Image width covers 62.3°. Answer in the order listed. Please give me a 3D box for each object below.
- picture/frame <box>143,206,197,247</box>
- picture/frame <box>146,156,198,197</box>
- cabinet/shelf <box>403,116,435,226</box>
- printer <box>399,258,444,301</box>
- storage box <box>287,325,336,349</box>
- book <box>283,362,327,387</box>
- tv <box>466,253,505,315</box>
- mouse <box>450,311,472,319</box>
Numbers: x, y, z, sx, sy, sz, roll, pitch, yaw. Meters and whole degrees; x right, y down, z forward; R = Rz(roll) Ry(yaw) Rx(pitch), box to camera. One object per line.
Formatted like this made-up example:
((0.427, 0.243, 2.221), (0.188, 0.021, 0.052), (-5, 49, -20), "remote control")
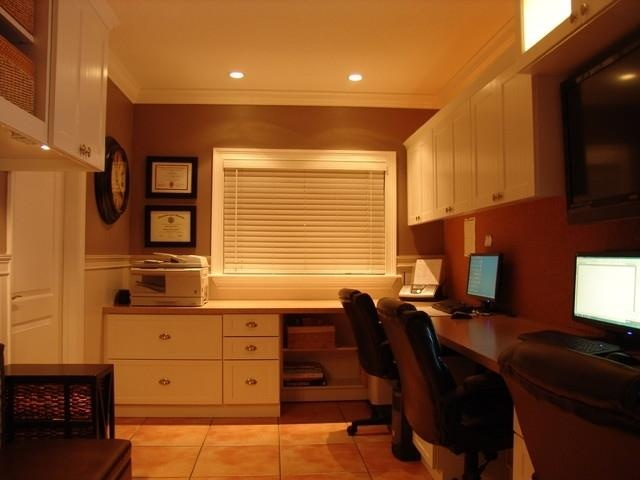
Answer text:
((-1.344, -0.129, 4.682), (0.346, 0.316, 0.031), (0, -3, -5), "picture/frame")
((-1.323, -0.566, 4.708), (0.392, 0.358, 0.031), (-1, -12, -12), "picture/frame")
((0.855, -0.568, 4.572), (0.243, 1.008, 0.941), (0, -3, -1), "cabinet/shelf")
((0.871, 0.323, 4.525), (0.338, 0.311, 0.419), (1, 7, 13), "printer")
((-0.074, 0.798, 4.328), (0.379, 0.180, 0.089), (0, 6, -2), "storage box")
((-0.129, 1.135, 4.503), (0.353, 0.145, 0.252), (-1, 7, -5), "book")
((1.179, 0.308, 3.751), (0.117, 0.409, 0.386), (4, -4, -14), "tv")
((0.947, 0.501, 3.552), (0.097, 0.034, 0.061), (-2, -3, -6), "mouse")
